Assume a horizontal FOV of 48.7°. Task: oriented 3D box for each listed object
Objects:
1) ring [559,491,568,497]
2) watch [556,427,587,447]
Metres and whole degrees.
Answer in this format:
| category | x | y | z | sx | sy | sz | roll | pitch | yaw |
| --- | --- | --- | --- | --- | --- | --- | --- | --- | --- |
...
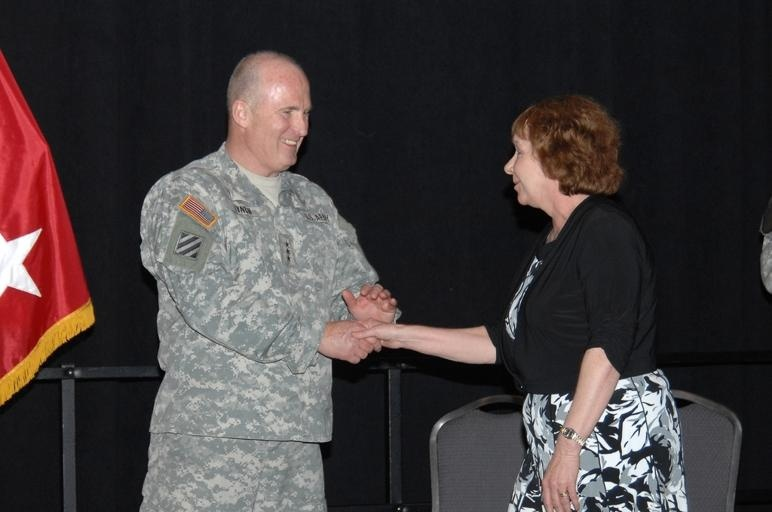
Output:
| category | x | y | z | sx | sy | sz | roll | pitch | yaw |
| --- | --- | --- | --- | --- | --- | --- | --- | --- | --- |
| ring | 0.688 | 0.914 | 3.276 | 0.021 | 0.016 | 0.009 | 0 | 5 | 0 |
| watch | 0.725 | 0.680 | 3.316 | 0.103 | 0.067 | 0.101 | 29 | -7 | 3 |
